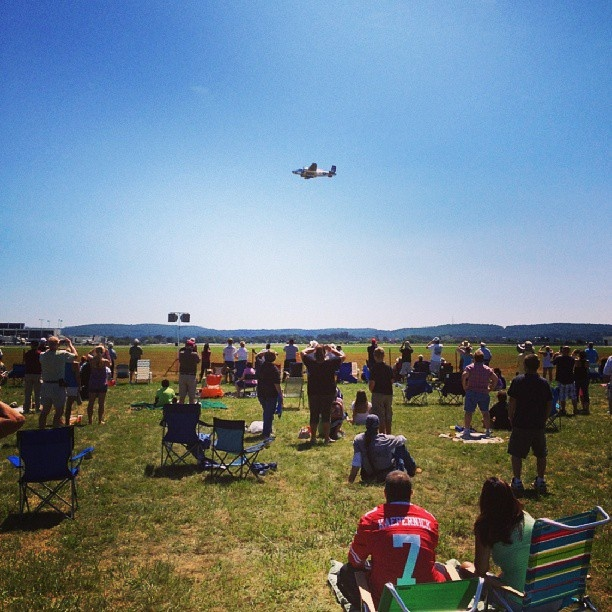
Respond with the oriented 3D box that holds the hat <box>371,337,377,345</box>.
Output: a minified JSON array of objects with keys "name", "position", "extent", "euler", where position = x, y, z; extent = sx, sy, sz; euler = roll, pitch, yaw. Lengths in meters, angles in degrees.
[{"name":"hat","position":[2.396,1.217,21.321],"extent":[0.180,0.303,0.262],"euler":[3,-8,16]}]

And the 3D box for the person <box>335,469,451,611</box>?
[{"name":"person","position":[0.812,2.246,5.739],"extent":[1.024,1.681,0.846],"euler":[1,-8,7]}]

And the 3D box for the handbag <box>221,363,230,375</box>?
[{"name":"handbag","position":[-2.876,2.262,21.675],"extent":[0.342,0.469,0.378],"euler":[4,5,-1]}]

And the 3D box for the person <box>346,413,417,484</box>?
[{"name":"person","position":[1.092,1.946,8.537],"extent":[0.499,0.998,1.531],"euler":[1,8,27]}]

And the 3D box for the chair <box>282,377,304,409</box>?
[{"name":"chair","position":[-0.356,2.263,16.922],"extent":[0.587,1.146,0.836],"euler":[0,33,-5]}]

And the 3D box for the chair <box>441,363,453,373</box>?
[{"name":"chair","position":[4.646,2.011,19.753],"extent":[0.268,0.340,0.278],"euler":[3,0,19]}]

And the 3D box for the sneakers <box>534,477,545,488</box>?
[{"name":"sneakers","position":[3.393,2.547,8.705],"extent":[0.072,0.195,0.242],"euler":[-1,1,5]}]

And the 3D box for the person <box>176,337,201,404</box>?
[{"name":"person","position":[-2.779,1.576,14.100],"extent":[0.465,1.583,2.422],"euler":[2,-2,-11]}]

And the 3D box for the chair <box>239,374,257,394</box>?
[{"name":"chair","position":[-1.881,2.493,19.394],"extent":[0.515,0.706,1.481],"euler":[1,-2,-3]}]

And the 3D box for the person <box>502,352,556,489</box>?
[{"name":"person","position":[3.240,1.682,8.758],"extent":[0.584,1.978,0.807],"euler":[-1,-3,42]}]

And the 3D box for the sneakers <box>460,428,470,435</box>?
[{"name":"sneakers","position":[3.227,2.534,12.205],"extent":[0.171,0.211,0.088],"euler":[1,-4,18]}]

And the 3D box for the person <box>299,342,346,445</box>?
[{"name":"person","position":[0.296,1.700,11.568],"extent":[0.791,1.909,0.979],"euler":[1,-2,1]}]

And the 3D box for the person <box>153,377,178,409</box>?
[{"name":"person","position":[-3.212,2.000,13.642],"extent":[0.353,0.686,1.442],"euler":[2,-2,-21]}]

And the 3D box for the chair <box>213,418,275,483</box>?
[{"name":"chair","position":[-1.103,2.285,10.020],"extent":[1.001,0.952,1.545],"euler":[2,-2,-10]}]

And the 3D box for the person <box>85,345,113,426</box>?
[{"name":"person","position":[-4.367,1.623,12.581],"extent":[0.388,1.687,0.473],"euler":[3,4,-23]}]

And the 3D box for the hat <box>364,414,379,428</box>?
[{"name":"hat","position":[0.864,1.495,7.811],"extent":[0.151,0.175,0.313],"euler":[1,-2,5]}]

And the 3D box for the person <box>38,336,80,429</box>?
[{"name":"person","position":[-4.610,1.435,11.104],"extent":[0.630,1.794,1.805],"euler":[2,-2,-22]}]

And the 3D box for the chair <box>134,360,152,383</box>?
[{"name":"chair","position":[-6.442,2.567,23.540],"extent":[0.618,1.320,0.813],"euler":[2,-7,-16]}]

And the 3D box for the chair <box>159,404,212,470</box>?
[{"name":"chair","position":[-2.089,2.155,10.382],"extent":[0.810,1.118,1.274],"euler":[2,-2,-10]}]

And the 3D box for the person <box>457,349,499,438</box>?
[{"name":"person","position":[3.531,1.776,12.188],"extent":[0.661,1.759,1.053],"euler":[0,-2,18]}]

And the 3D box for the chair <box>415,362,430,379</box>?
[{"name":"chair","position":[3.683,2.023,19.116],"extent":[0.332,0.732,0.460],"euler":[-2,7,-33]}]

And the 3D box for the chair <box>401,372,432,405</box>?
[{"name":"chair","position":[3.220,2.373,17.595],"extent":[0.747,1.414,0.915],"euler":[0,-5,7]}]
